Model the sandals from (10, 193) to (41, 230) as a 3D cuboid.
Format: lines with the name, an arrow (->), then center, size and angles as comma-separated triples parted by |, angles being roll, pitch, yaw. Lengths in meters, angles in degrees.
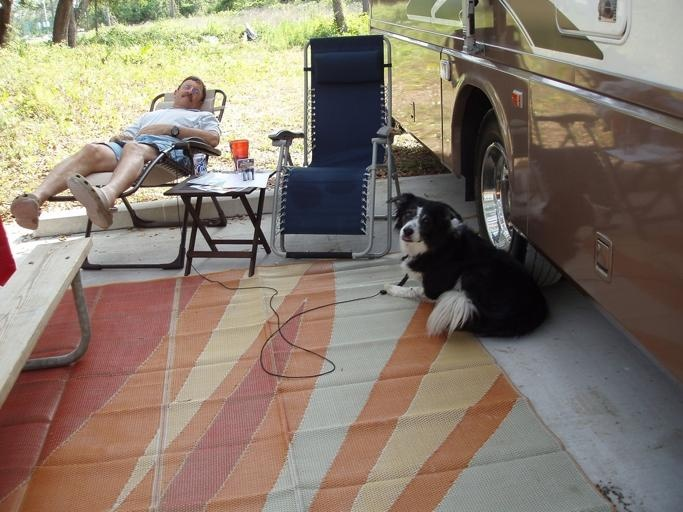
sandals -> -2.399, -0.348, 3.869 | 0.165, 0.298, 0.140 | 0, 32, -12

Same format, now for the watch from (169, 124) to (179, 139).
watch -> -1.587, -1.183, 4.824 | 0.074, 0.116, 0.106 | -1, 4, -18

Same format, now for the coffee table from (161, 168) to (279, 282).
coffee table -> -1.016, -0.385, 4.482 | 0.812, 0.746, 1.005 | 1, 23, 6

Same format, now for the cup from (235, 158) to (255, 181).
cup -> -0.813, -0.728, 4.292 | 0.193, 0.200, 0.127 | 0, 9, -2

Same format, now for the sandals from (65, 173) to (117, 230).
sandals -> -1.860, -0.431, 3.803 | 0.182, 0.429, 0.170 | 0, 43, 21

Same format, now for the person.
person -> -1.938, -0.985, 4.640 | 1.067, 1.273, 2.019 | 2, 12, 11
